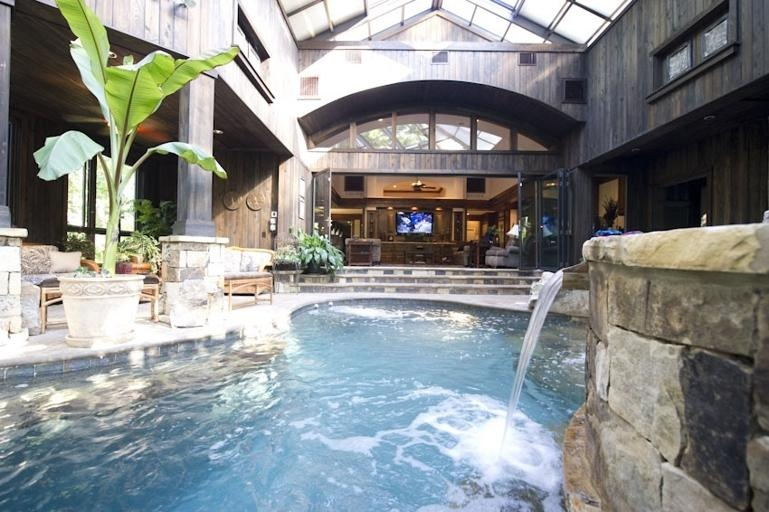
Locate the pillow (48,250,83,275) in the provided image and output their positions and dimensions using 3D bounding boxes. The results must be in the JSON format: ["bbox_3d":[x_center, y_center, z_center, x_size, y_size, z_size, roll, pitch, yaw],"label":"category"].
[{"bbox_3d":[-4.651,0.088,6.442,0.125,0.261,0.332,-30,-20,37],"label":"pillow"}]

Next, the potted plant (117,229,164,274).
[{"bbox_3d":[-4.300,-0.083,7.886,0.707,0.868,0.864,1,-3,11],"label":"potted plant"}]

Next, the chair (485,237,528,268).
[{"bbox_3d":[3.038,-0.044,11.276,0.679,0.733,0.719,4,-7,-17],"label":"chair"}]

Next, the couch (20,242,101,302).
[{"bbox_3d":[-4.176,0.190,5.654,0.669,0.909,0.939,0,0,22],"label":"couch"}]

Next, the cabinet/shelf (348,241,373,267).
[{"bbox_3d":[-0.642,-0.074,11.303,0.572,0.603,0.593,0,-3,-2],"label":"cabinet/shelf"}]
